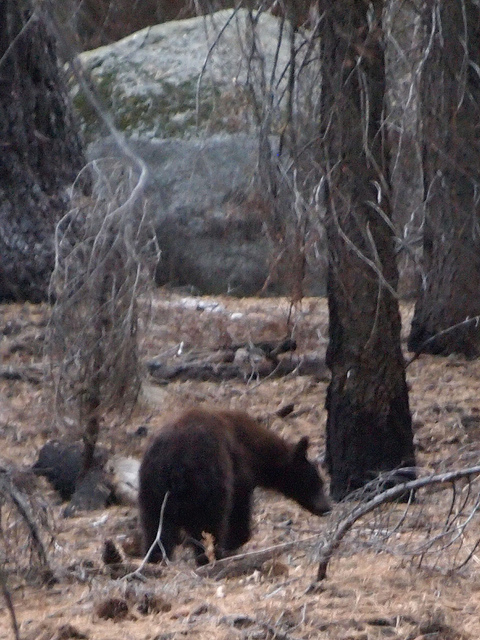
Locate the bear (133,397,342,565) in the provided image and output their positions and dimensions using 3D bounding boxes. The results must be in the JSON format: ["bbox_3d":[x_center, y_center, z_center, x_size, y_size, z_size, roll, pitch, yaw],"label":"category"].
[{"bbox_3d":[-0.096,1.152,10.741,0.495,1.133,1.604,10,8,30],"label":"bear"}]
